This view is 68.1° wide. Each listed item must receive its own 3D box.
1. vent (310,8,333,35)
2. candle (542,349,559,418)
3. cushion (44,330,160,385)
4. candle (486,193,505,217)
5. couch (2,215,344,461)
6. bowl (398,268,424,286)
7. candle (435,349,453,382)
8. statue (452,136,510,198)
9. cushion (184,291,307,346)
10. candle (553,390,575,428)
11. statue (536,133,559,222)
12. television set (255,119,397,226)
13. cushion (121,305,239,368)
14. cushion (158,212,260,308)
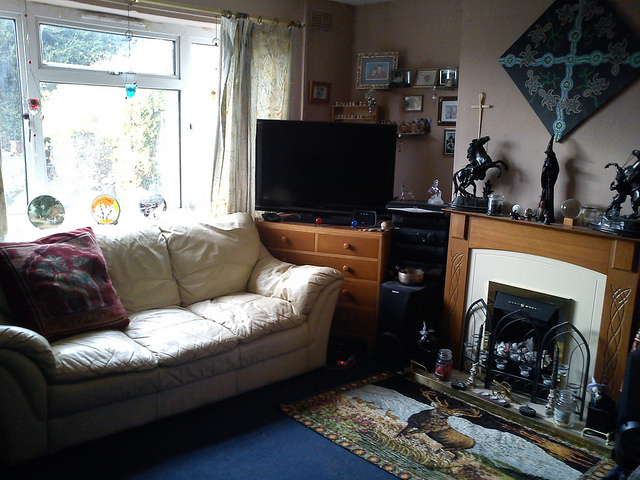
[{"bbox_3d":[0.002,-2.025,4.405,0.262,0.190,0.019,-4,17,-38],"label":"vent"},{"bbox_3d":[1.524,0.935,3.110,0.071,0.412,0.217,7,16,27],"label":"candle"},{"bbox_3d":[-1.258,0.669,2.716,0.325,0.080,0.323,-4,14,-38],"label":"cushion"},{"bbox_3d":[1.261,-0.241,3.417,0.139,0.161,0.141,-6,9,-40],"label":"candle"},{"bbox_3d":[-1.078,0.510,3.221,1.954,1.079,0.906,-10,17,-34],"label":"couch"},{"bbox_3d":[0.708,0.289,3.733,0.188,0.093,0.213,0,14,1],"label":"bowl"},{"bbox_3d":[0.903,0.922,3.487,0.128,0.217,0.139,2,5,-39],"label":"candle"},{"bbox_3d":[1.209,-0.540,3.566,0.388,0.449,0.162,4,14,16],"label":"statue"},{"bbox_3d":[-0.441,0.514,3.333,0.444,0.111,0.445,-12,22,-40],"label":"cushion"},{"bbox_3d":[1.574,1.100,3.045,0.128,0.216,0.140,13,-9,-23],"label":"candle"},{"bbox_3d":[1.555,-0.401,3.212,0.107,0.567,0.153,13,19,43],"label":"statue"},{"bbox_3d":[0.061,-0.584,4.090,0.868,0.636,0.255,2,5,9],"label":"television set"},{"bbox_3d":[-0.914,0.613,3.056,0.405,0.101,0.418,-3,17,-45],"label":"cushion"},{"bbox_3d":[-0.903,0.186,3.823,0.895,0.642,0.344,-12,27,-34],"label":"cushion"}]
